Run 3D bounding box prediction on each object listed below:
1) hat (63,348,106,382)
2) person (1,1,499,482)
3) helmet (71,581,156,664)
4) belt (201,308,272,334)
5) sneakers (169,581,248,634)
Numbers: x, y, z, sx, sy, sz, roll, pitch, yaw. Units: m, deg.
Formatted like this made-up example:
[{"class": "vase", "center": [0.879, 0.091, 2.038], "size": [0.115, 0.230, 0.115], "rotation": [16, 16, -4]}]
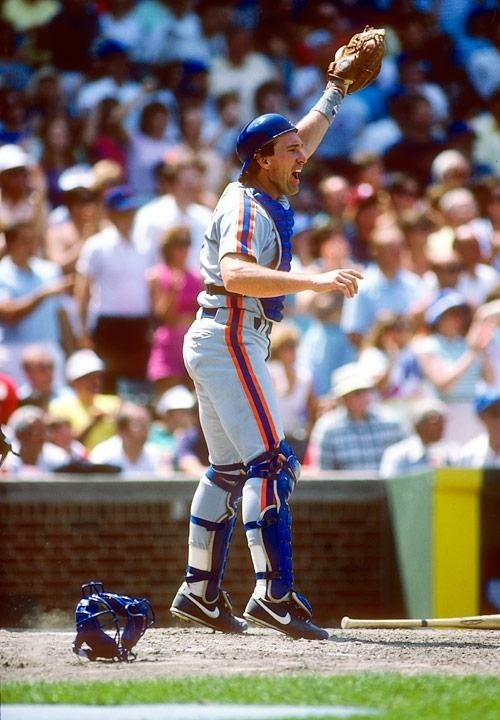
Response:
[{"class": "hat", "center": [-0.954, 0.024, 7.870], "size": [0.215, 0.046, 0.187], "rotation": [10, 29, 33]}, {"class": "person", "center": [-0.030, -0.653, 8.003], "size": [1.299, 1.054, 3.363], "rotation": [3, -24, -1]}, {"class": "helmet", "center": [-0.602, 0.999, 5.184], "size": [0.381, 0.278, 0.279], "rotation": [-9, -14, 26]}, {"class": "belt", "center": [-0.039, -0.164, 5.414], "size": [0.190, 0.052, 0.131], "rotation": [9, 2, -6]}, {"class": "sneakers", "center": [-0.154, 0.991, 5.543], "size": [0.370, 0.160, 0.118], "rotation": [24, 2, -31]}]
